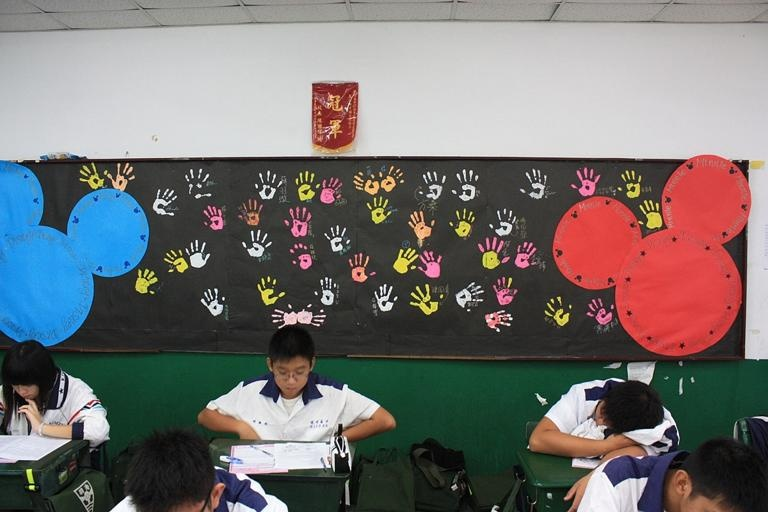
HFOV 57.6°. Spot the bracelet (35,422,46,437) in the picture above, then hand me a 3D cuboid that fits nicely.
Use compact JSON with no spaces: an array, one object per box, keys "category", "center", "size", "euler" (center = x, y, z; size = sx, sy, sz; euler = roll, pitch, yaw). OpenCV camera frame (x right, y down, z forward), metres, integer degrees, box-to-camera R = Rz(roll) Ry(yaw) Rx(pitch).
[{"category":"bracelet","center":[-2.104,1.065,4.308],"size":[0.056,0.067,0.063],"euler":[4,33,19]}]
